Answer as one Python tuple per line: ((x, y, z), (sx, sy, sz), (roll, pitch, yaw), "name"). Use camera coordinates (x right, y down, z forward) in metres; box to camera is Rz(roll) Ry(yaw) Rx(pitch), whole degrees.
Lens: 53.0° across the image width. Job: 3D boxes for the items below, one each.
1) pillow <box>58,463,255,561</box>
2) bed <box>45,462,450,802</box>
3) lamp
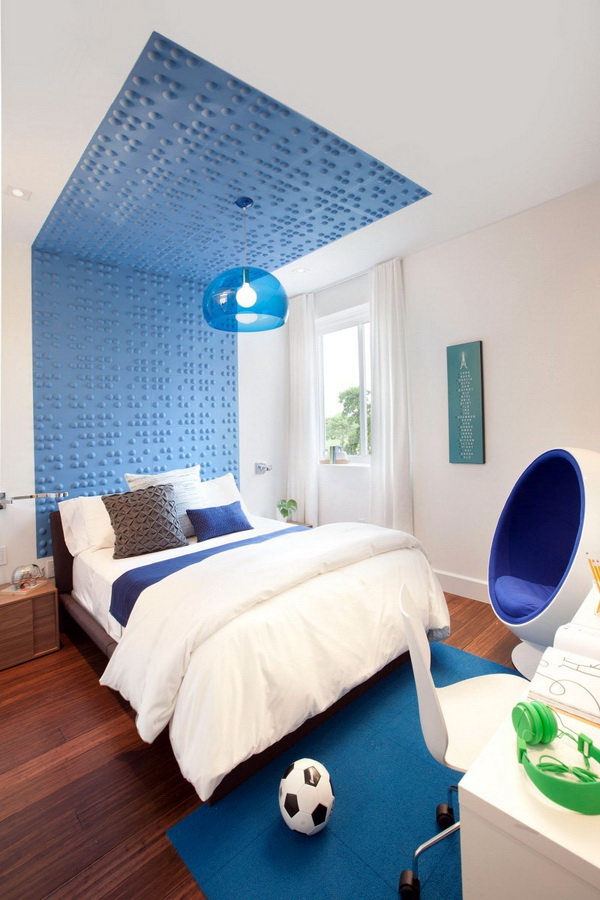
((-0.916, 0.325, 3.603), (0.737, 0.228, 0.516), (-7, 35, -42), "pillow")
((-0.444, 0.710, 2.497), (1.115, 0.563, 1.145), (-9, 2, -43), "bed")
((-0.306, -0.952, 3.090), (0.403, 0.645, 0.907), (-3, 9, -9), "lamp")
